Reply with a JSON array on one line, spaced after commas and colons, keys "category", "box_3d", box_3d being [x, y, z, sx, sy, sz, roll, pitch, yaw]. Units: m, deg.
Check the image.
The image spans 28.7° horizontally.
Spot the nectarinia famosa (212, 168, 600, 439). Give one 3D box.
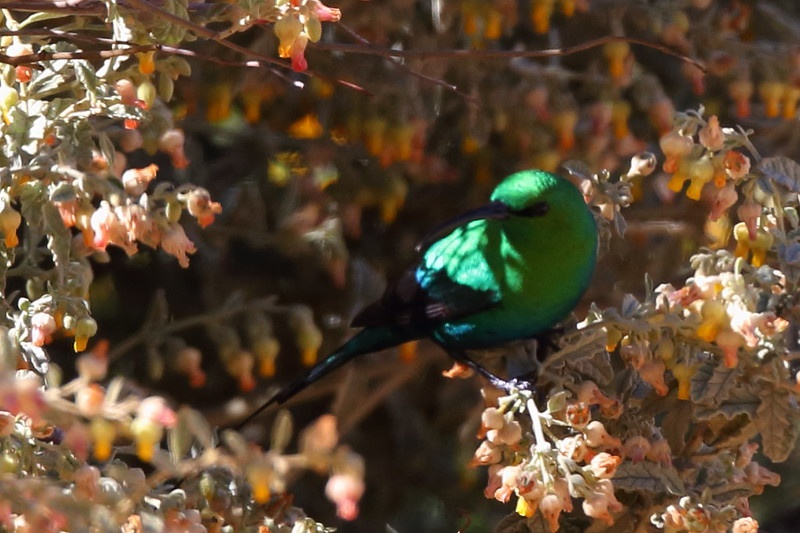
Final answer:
[{"category": "nectarinia famosa", "box_3d": [0.201, 0.044, 4.645, 0.664, 0.605, 0.487, 16, 34, 15]}]
